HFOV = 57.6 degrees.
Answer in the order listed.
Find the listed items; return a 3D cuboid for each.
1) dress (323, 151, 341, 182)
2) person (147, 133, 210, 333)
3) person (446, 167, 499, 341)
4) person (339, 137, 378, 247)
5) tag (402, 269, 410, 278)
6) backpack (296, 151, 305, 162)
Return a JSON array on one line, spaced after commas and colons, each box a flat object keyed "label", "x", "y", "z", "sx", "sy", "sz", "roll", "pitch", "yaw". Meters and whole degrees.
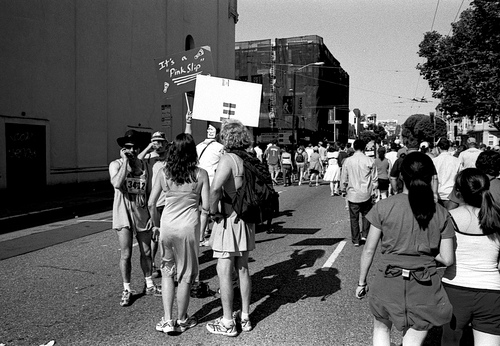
[{"label": "dress", "x": 3.256, "y": -0.261, "z": 17.995, "sx": 0.638, "sy": 1.254, "sz": 0.634, "roll": 0, "pitch": -20, "yaw": 6}, {"label": "person", "x": -0.973, "y": 0.823, "z": 6.265, "sx": 0.834, "sy": 2.682, "sz": 0.604, "roll": -1, "pitch": 6, "yaw": -6}, {"label": "person", "x": 2.539, "y": 0.949, "z": 5.144, "sx": 0.571, "sy": 1.969, "sz": 0.398, "roll": 2, "pitch": 6, "yaw": 23}, {"label": "person", "x": 2.368, "y": 0.414, "z": 9.896, "sx": 0.619, "sy": 2.339, "sz": 0.680, "roll": 1, "pitch": -1, "yaw": 11}, {"label": "tag", "x": 1.697, "y": 1.092, "z": 4.942, "sx": 0.065, "sy": 0.079, "sz": 0.055, "roll": 2, "pitch": -25, "yaw": 3}, {"label": "backpack", "x": 2.479, "y": -0.805, "z": 22.425, "sx": 0.380, "sy": 0.501, "sz": 0.418, "roll": 0, "pitch": 6, "yaw": -2}]
